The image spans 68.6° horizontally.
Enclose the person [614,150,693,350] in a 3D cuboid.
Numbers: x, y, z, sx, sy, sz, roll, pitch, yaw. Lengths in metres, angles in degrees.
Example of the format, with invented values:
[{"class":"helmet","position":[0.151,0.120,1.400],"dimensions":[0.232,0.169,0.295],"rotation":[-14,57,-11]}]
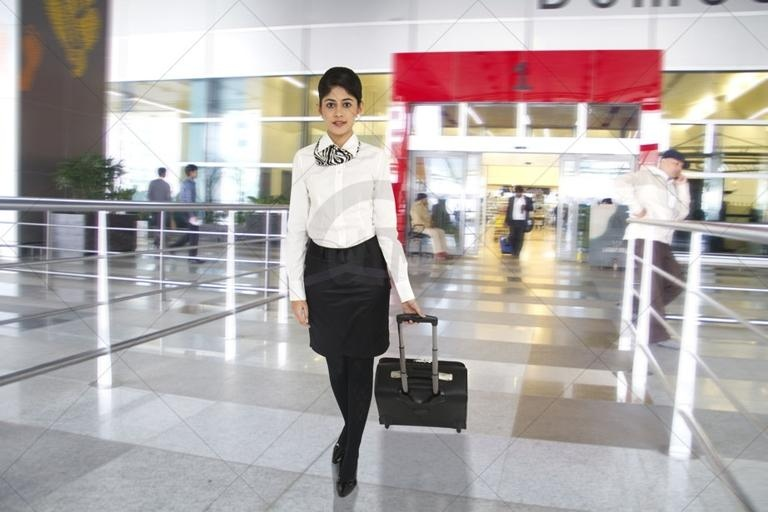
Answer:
[{"class":"person","position":[1.619,0.012,3.395],"dimensions":[0.349,1.256,0.780],"rotation":[6,11,28]}]

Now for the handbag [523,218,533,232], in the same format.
[{"class":"handbag","position":[0.781,-0.166,3.079],"dimensions":[0.049,0.042,0.059],"rotation":[1,18,6]}]

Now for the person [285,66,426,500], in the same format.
[{"class":"person","position":[-0.141,0.099,2.409],"dimensions":[0.471,1.747,0.402],"rotation":[-4,11,-28]}]

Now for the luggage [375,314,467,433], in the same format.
[{"class":"luggage","position":[0.182,0.522,2.564],"dimensions":[0.447,0.507,0.218],"rotation":[-1,10,10]}]

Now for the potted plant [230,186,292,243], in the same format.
[{"class":"potted plant","position":[-1.463,-0.477,6.485],"dimensions":[0.624,0.509,0.345],"rotation":[8,2,45]}]

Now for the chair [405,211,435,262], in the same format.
[{"class":"chair","position":[0.207,-0.130,3.438],"dimensions":[0.213,0.263,0.197],"rotation":[-5,-11,30]}]

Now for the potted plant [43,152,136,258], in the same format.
[{"class":"potted plant","position":[-2.661,-0.456,5.022],"dimensions":[0.992,0.834,0.498],"rotation":[2,8,3]}]

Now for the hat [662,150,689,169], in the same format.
[{"class":"hat","position":[1.527,-0.515,2.962],"dimensions":[0.087,0.033,0.116],"rotation":[28,-3,-26]}]

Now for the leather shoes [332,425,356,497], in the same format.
[{"class":"leather shoes","position":[-0.186,0.906,2.438],"dimensions":[0.076,0.216,0.090],"rotation":[0,-29,13]}]
